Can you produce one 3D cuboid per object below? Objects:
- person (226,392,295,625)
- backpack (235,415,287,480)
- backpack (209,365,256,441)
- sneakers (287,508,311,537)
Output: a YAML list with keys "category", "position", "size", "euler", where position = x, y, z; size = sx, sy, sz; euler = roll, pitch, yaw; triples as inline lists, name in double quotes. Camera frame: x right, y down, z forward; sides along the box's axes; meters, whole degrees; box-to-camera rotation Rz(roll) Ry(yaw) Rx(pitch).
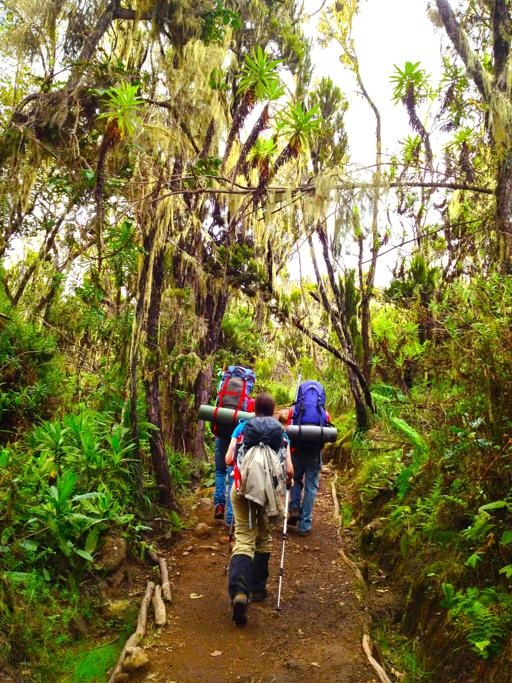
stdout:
- category: "person"
  position: [0.000, 1.308, 3.756]
  size: [0.539, 1.726, 0.984]
  euler: [4, 0, 5]
- category: "backpack"
  position: [0.012, 0.809, 3.836]
  size: [0.298, 0.406, 0.375]
  euler: [1, 3, 2]
- category: "backpack"
  position: [-0.243, 0.628, 5.249]
  size: [0.391, 0.825, 0.317]
  euler: [7, -19, 19]
- category: "sneakers"
  position: [0.498, 2.096, 5.456]
  size: [0.172, 0.277, 0.221]
  euler: [-7, -21, 39]
